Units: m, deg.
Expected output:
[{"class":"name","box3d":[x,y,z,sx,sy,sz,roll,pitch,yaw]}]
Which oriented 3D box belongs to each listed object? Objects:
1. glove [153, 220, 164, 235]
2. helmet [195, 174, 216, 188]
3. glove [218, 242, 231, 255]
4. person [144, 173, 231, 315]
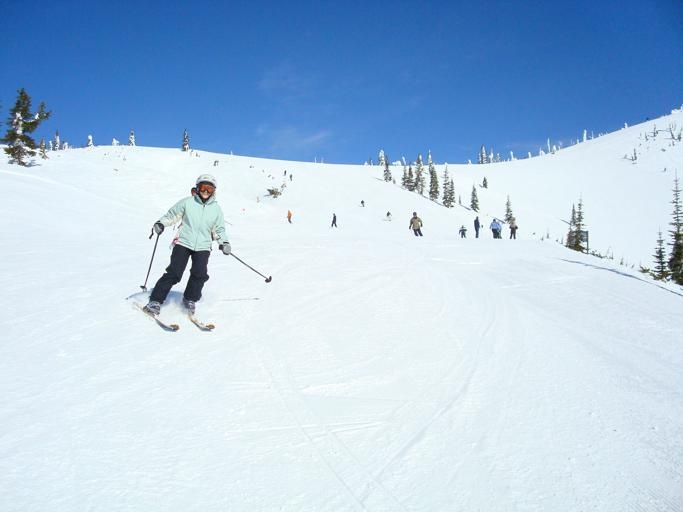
[{"class":"glove","box3d":[-3.304,-0.508,10.235,0.168,0.268,0.430,2,9,-18]},{"class":"helmet","box3d":[-2.464,-1.377,10.348,0.221,0.336,0.265,7,2,-10]},{"class":"glove","box3d":[-2.122,-0.108,10.336,0.165,0.237,0.212,7,-33,-34]},{"class":"person","box3d":[-2.784,-0.218,10.325,1.416,2.530,0.963,1,8,-26]}]
